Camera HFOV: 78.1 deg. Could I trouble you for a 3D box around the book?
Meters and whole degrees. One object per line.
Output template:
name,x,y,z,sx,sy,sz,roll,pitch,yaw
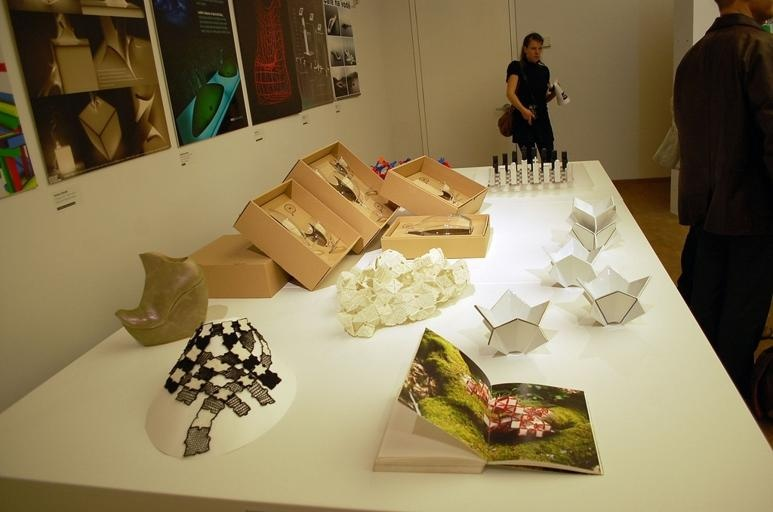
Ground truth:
book,0.273,0.416,1.353,0.593,0.190,0.321,-3,27,7

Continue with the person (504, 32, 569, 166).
person,1.546,-1.690,5.080,0.482,1.219,0.422,0,26,13
